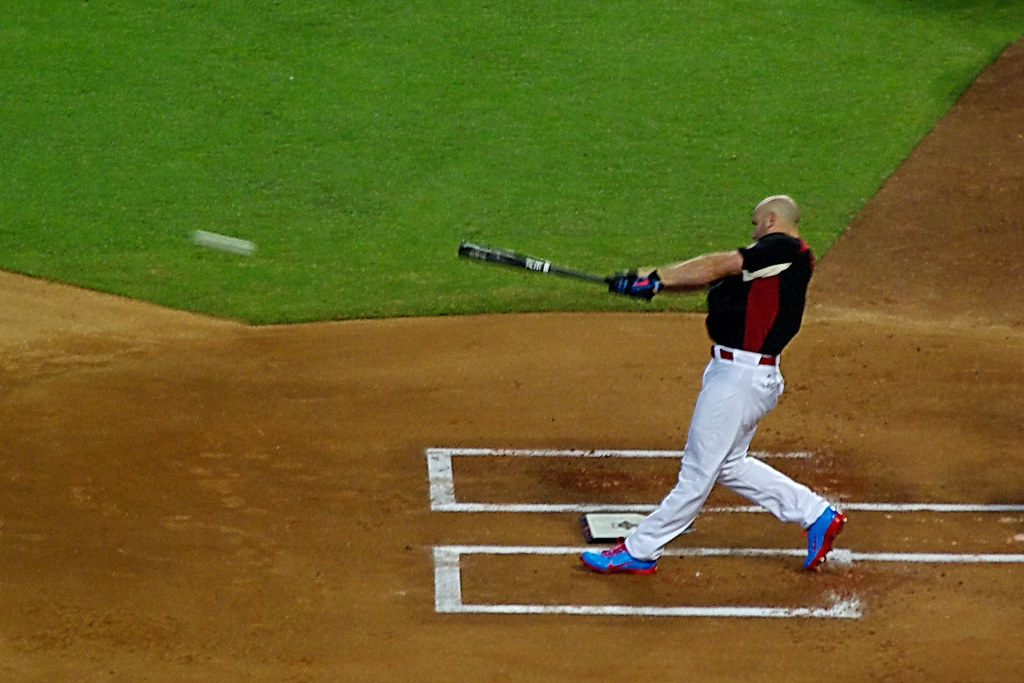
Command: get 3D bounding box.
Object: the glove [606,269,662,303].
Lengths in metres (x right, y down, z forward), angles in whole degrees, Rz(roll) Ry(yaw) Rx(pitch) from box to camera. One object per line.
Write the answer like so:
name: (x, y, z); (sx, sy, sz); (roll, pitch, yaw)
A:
glove: (1.522, -0.678, 26.961); (0.530, 0.351, 0.249); (3, 98, 22)
